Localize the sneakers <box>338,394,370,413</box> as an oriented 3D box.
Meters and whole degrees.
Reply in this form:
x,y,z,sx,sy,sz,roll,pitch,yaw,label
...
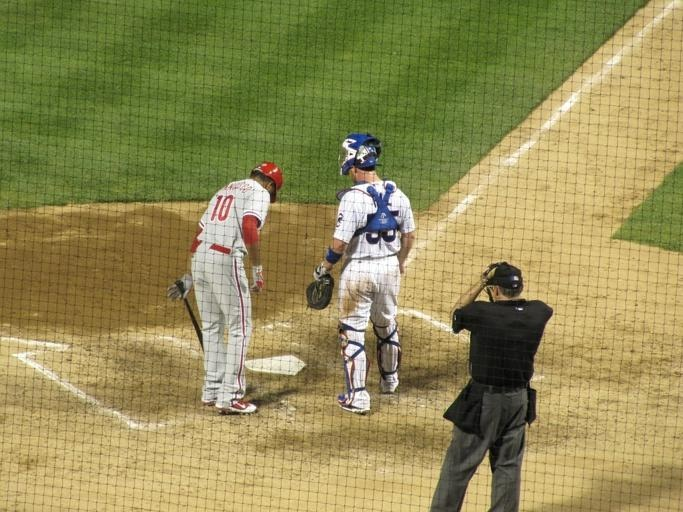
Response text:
x,y,z,sx,sy,sz,roll,pitch,yaw,label
0.177,1.908,19.161,0.473,0.191,0.168,15,27,24,sneakers

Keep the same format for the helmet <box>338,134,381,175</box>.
x,y,z,sx,sy,sz,roll,pitch,yaw,label
0.230,-1.365,19.103,0.541,0.473,0.428,5,10,24,helmet

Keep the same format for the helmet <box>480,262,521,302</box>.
x,y,z,sx,sy,sz,roll,pitch,yaw,label
1.962,0.342,17.678,0.433,0.550,0.545,9,-3,-24,helmet

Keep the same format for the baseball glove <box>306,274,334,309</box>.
x,y,z,sx,sy,sz,roll,pitch,yaw,label
-0.209,0.461,19.174,0.333,0.453,0.183,33,17,17,baseball glove
